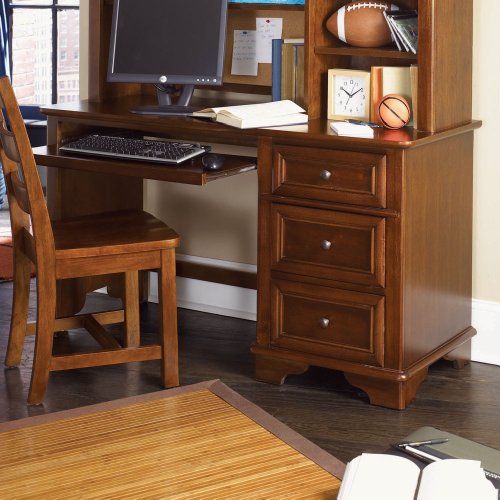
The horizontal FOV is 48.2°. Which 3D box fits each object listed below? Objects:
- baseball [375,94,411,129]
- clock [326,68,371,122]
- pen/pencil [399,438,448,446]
[{"bbox_3d":[0.491,-0.471,1.904,0.139,0.105,0.088,14,26,34],"label":"baseball"},{"bbox_3d":[0.350,-0.544,1.968,0.223,0.217,0.047,6,14,22],"label":"clock"},{"bbox_3d":[0.266,0.292,0.850,0.063,0.007,0.007,-1,-18,-16],"label":"pen/pencil"}]
